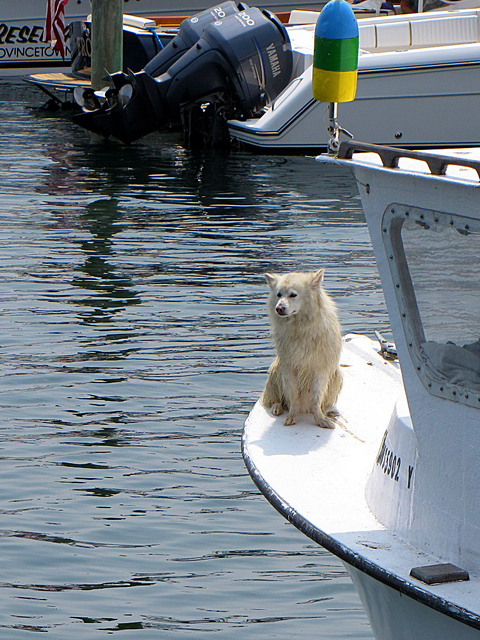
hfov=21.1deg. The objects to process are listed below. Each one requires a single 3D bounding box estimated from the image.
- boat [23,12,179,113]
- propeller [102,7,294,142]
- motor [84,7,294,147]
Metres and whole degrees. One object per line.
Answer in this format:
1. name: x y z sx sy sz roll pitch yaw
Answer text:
1. boat: -1.895 -4.644 23.066 3.810 1.328 2.625 -2 5 -18
2. propeller: -0.627 -3.305 17.894 2.680 1.212 1.362 -22 44 -1
3. motor: -0.508 -3.441 17.921 3.404 1.441 1.287 -21 38 -6
